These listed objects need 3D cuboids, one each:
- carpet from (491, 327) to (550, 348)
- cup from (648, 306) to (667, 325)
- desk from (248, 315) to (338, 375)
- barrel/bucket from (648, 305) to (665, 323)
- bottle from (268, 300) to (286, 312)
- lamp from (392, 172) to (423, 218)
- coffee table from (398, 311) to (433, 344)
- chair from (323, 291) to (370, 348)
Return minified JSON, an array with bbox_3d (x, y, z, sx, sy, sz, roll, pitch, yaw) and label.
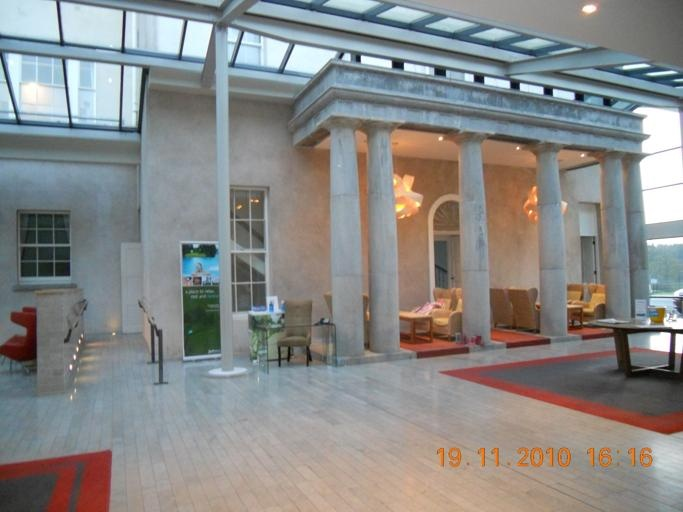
[{"bbox_3d":[4.558,2.077,13.005,1.394,0.163,2.002,0,3,10],"label":"carpet"},{"bbox_3d":[5.560,1.011,8.898,0.248,0.278,0.312,0,-8,3],"label":"cup"},{"bbox_3d":[-1.172,1.873,11.052,1.273,0.834,1.315,1,1,-4],"label":"desk"},{"bbox_3d":[5.556,1.017,8.860,0.241,0.271,0.301,0,-7,0],"label":"barrel/bucket"},{"bbox_3d":[-1.458,1.111,11.452,0.287,0.285,0.300,0,-6,1],"label":"bottle"},{"bbox_3d":[1.532,-1.477,12.287,0.825,1.021,0.444,-3,3,-32],"label":"lamp"},{"bbox_3d":[1.870,1.898,12.599,0.538,0.624,1.236,2,-5,-13],"label":"coffee table"},{"bbox_3d":[0.125,1.469,11.887,1.117,1.836,1.083,-3,-3,9],"label":"chair"}]
